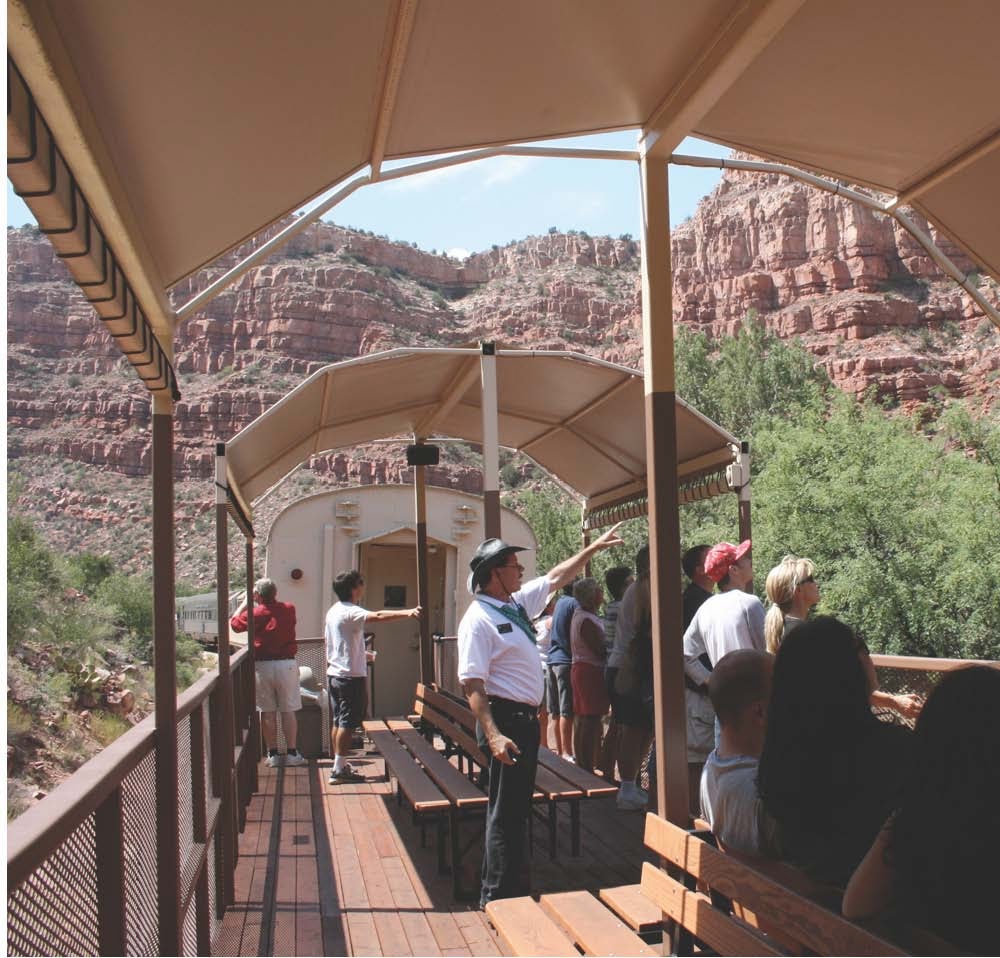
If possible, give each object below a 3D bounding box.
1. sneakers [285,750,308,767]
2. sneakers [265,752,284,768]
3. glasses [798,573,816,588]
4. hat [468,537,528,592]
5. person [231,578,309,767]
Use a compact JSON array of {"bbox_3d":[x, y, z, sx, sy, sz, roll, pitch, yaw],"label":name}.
[{"bbox_3d":[-1.989,2.685,7.875,0.098,0.142,0.281,-2,-11,40],"label":"sneakers"},{"bbox_3d":[-2.194,2.690,7.897,0.139,0.232,0.116,-1,-5,-2],"label":"sneakers"},{"bbox_3d":[1.603,0.509,4.197,0.053,0.076,0.078,-2,12,12],"label":"glasses"},{"bbox_3d":[-0.015,0.342,3.914,0.260,0.105,0.215,-44,-6,-36],"label":"hat"},{"bbox_3d":[-2.152,1.840,7.729,0.456,1.801,0.692,-4,-7,-18],"label":"person"}]
